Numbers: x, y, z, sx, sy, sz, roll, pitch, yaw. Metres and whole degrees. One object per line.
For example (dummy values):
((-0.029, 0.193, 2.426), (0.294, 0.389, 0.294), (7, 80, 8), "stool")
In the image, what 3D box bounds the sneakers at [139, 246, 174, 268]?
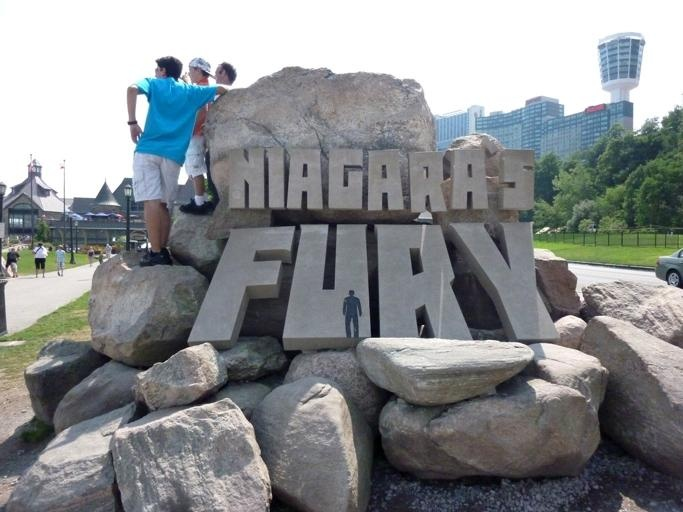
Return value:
((-2.513, 0.041, 7.261), (0.425, 0.215, 0.198), (2, 2, 24), "sneakers")

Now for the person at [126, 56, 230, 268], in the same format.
((-2.300, -1.284, 7.276), (1.062, 2.802, 0.800), (-5, 6, -23), "person")

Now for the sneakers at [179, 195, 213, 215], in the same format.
((-2.094, -0.725, 7.805), (0.505, 0.269, 0.200), (3, 4, -8), "sneakers")
